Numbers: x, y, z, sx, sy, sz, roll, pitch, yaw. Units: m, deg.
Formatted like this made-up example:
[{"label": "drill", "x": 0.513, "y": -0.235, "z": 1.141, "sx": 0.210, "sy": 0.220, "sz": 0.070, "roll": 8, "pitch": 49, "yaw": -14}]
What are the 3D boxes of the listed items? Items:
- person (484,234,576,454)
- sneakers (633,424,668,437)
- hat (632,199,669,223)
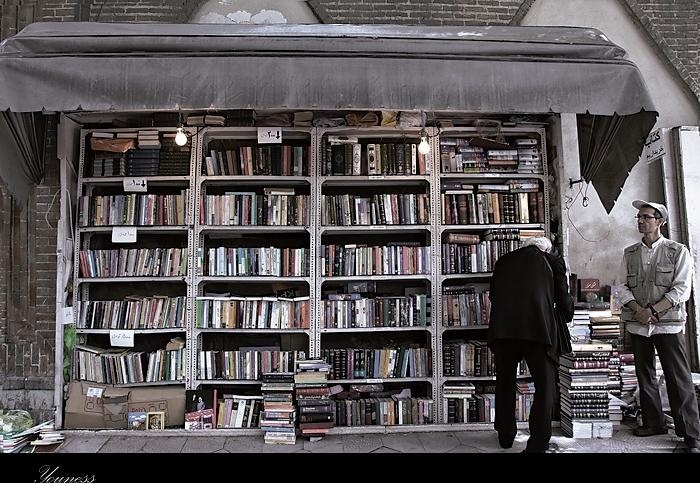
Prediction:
[{"label": "person", "x": 1.903, "y": 1.113, "z": 8.528, "sx": 0.872, "sy": 2.122, "sz": 0.391, "roll": -4, "pitch": -9, "yaw": 12}, {"label": "sneakers", "x": 3.231, "y": 2.040, "z": 8.796, "sx": 0.373, "sy": 0.152, "sz": 0.131, "roll": 2, "pitch": -5, "yaw": 4}, {"label": "hat", "x": 3.342, "y": -0.355, "z": 8.886, "sx": 0.437, "sy": 0.207, "sz": 0.261, "roll": 12, "pitch": -6, "yaw": -6}]
